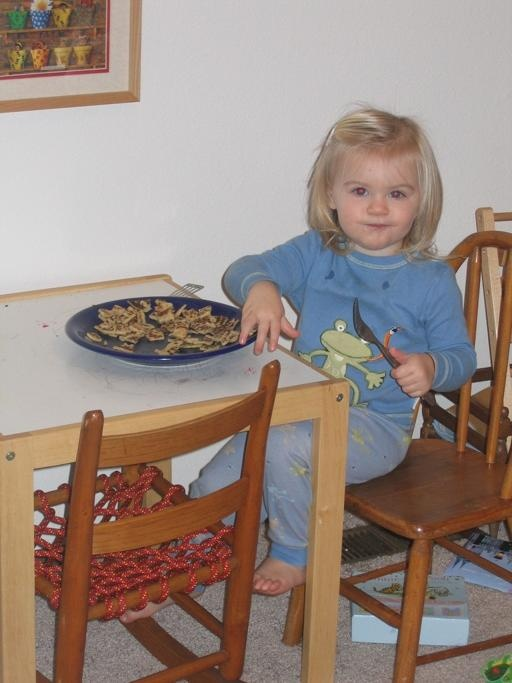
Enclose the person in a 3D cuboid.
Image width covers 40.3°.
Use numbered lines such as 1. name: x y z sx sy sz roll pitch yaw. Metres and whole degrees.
1. person: 0.069 0.025 1.216 0.737 0.798 0.478 -7 21 -35
